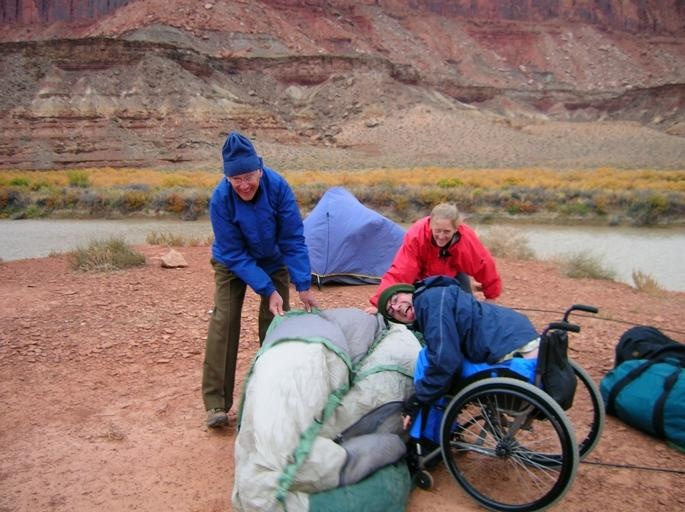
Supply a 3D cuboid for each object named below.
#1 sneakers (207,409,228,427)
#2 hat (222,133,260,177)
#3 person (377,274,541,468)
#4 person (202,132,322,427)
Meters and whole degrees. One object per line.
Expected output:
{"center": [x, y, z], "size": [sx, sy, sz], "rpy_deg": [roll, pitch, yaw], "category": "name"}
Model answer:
{"center": [-1.286, 1.672, 6.269], "size": [0.127, 0.115, 0.237], "rpy_deg": [2, -26, -12], "category": "sneakers"}
{"center": [-0.999, -1.020, 6.110], "size": [0.415, 0.418, 0.379], "rpy_deg": [-13, 11, -11], "category": "hat"}
{"center": [1.194, 0.961, 5.983], "size": [1.464, 1.498, 1.135], "rpy_deg": [-7, -12, 15], "category": "person"}
{"center": [-0.925, 0.219, 6.330], "size": [1.247, 2.969, 0.900], "rpy_deg": [-6, 20, -15], "category": "person"}
